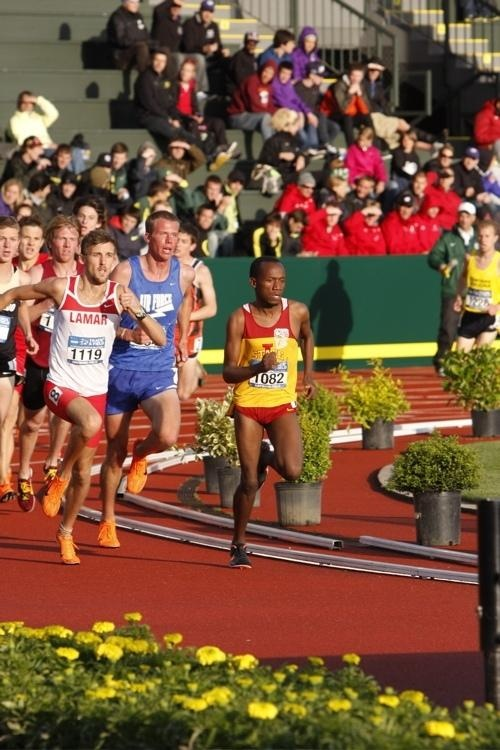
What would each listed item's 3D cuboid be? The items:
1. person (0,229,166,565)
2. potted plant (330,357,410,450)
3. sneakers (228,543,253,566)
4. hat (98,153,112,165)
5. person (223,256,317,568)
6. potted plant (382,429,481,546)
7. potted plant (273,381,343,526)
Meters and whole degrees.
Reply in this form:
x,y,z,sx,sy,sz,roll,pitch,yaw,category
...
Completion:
x,y,z,sx,sy,sz,roll,pitch,yaw,category
-1.264,0.166,6.022,0.762,2.304,0.525,3,6,38,person
1.537,0.372,10.697,0.834,0.886,0.624,-6,20,-35,potted plant
-0.066,1.201,5.790,0.121,0.150,0.088,-1,5,-1,sneakers
-2.596,-3.854,15.585,0.269,0.256,0.244,0,4,2,hat
0.217,0.341,5.786,0.727,1.864,0.742,-3,5,-23,person
1.366,0.840,6.704,0.897,0.893,0.750,-2,1,2,potted plant
0.394,0.747,7.345,0.574,0.966,0.456,5,-4,-15,potted plant
